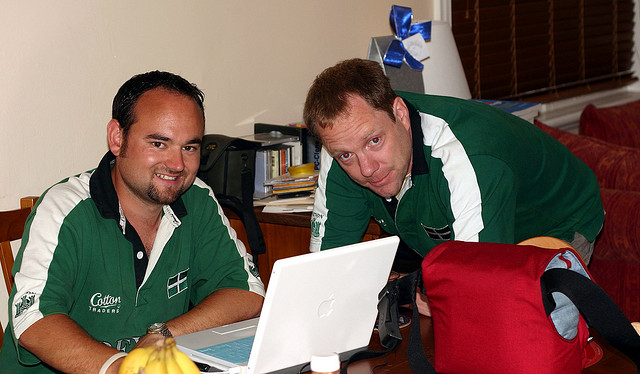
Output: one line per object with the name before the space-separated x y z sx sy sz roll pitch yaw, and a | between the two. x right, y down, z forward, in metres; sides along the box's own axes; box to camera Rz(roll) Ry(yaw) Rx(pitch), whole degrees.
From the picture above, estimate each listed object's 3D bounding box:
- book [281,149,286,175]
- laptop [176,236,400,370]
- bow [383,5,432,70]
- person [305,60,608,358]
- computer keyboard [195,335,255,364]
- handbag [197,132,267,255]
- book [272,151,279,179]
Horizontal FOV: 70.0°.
book | -0.226 -0.161 2.934 0.027 0.148 0.034 -6 -7 -6
laptop | -0.098 0.365 1.565 0.504 0.340 0.569 10 12 44
bow | 0.576 -1.002 3.068 0.423 0.406 0.127 3 -21 -1
person | 0.606 -0.169 2.341 1.410 1.388 0.938 -19 18 -26
computer keyboard | -0.296 0.546 1.507 0.198 0.056 0.137 -3 -9 -22
handbag | -0.572 -0.042 2.756 0.401 0.472 0.375 19 0 -39
book | -0.279 -0.145 2.912 0.059 0.156 0.165 0 8 4
